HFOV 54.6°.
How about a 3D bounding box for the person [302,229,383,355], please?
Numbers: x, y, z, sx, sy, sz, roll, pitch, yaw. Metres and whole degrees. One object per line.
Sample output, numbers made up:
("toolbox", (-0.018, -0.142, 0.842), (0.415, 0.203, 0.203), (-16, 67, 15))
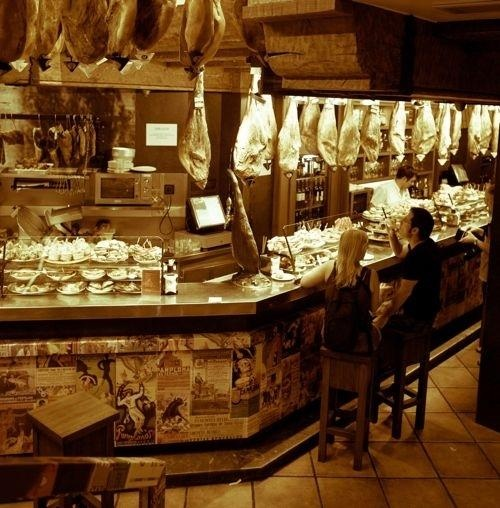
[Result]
("person", (0.717, 0.269, 3.629), (0.505, 0.888, 0.480), (5, 12, 19))

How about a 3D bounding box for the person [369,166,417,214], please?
("person", (2.078, -0.959, 6.994), (0.590, 0.598, 0.962), (2, 12, 7))

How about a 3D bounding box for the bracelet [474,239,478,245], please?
("bracelet", (2.527, -0.127, 5.430), (0.038, 0.042, 0.041), (-1, -1, -15))

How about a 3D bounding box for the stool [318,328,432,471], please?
("stool", (0.995, 1.182, 3.899), (0.313, 0.839, 0.909), (6, 12, 35))

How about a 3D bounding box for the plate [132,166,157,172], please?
("plate", (-1.357, -1.077, 6.200), (0.294, 0.068, 0.420), (0, 12, -3))

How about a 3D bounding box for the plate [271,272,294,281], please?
("plate", (0.277, 0.195, 4.186), (0.205, 0.050, 0.207), (-3, 13, -17))

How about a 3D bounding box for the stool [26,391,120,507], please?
("stool", (-0.846, 0.868, 2.327), (0.369, 0.268, 0.308), (10, 15, 37))

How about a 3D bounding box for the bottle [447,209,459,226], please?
("bottle", (2.698, -0.479, 6.488), (0.147, 0.212, 0.199), (3, 12, 14))
